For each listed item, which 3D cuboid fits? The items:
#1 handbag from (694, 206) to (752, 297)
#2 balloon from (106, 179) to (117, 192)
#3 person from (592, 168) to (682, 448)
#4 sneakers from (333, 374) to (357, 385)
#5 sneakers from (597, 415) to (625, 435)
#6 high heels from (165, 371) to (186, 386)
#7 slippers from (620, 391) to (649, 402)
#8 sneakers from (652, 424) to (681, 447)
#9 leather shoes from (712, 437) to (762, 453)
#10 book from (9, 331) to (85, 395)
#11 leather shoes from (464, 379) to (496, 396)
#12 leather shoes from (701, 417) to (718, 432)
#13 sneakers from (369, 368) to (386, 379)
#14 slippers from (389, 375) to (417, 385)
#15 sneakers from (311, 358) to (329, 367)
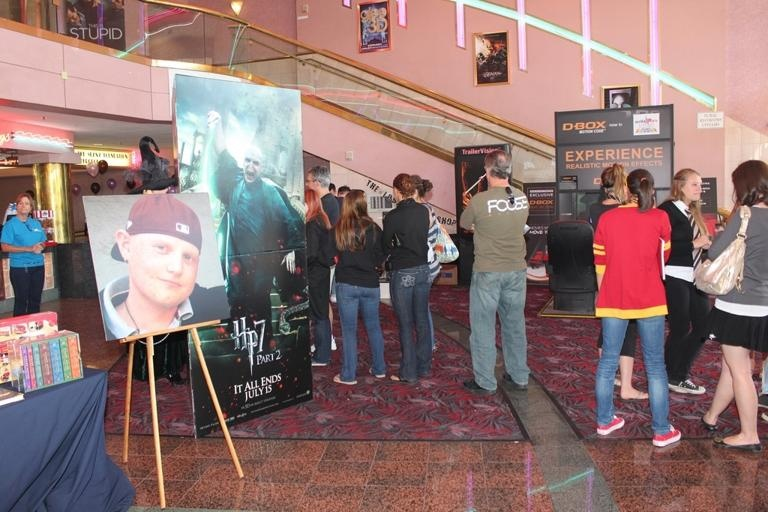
[{"bbox_3d":[2.478,-0.046,3.993,0.353,0.596,0.168,-7,14,-18],"label":"handbag"},{"bbox_3d":[-8.511,-2.230,17.327,0.202,0.407,0.325,-6,-16,-39],"label":"balloon"},{"bbox_3d":[1.956,0.391,4.273,0.666,2.066,0.470,3,15,23],"label":"person"},{"bbox_3d":[-0.398,1.249,5.582,0.206,0.086,0.097,8,8,37],"label":"sneakers"},{"bbox_3d":[1.818,1.337,4.468,0.278,0.114,0.101,-8,8,-34],"label":"sneakers"},{"bbox_3d":[-2.118,1.237,5.675,0.198,0.145,0.169,-9,-8,35],"label":"high heels"},{"bbox_3d":[2.260,1.263,4.977,0.209,0.054,0.092,-6,17,0],"label":"slippers"},{"bbox_3d":[2.172,1.385,4.319,0.292,0.130,0.105,-8,9,-30],"label":"sneakers"},{"bbox_3d":[2.658,1.427,4.199,0.333,0.086,0.117,5,-2,25],"label":"leather shoes"},{"bbox_3d":[-2.118,0.654,3.471,0.394,0.277,0.234,-12,16,-36],"label":"book"},{"bbox_3d":[0.911,1.226,5.269,0.276,0.109,0.110,11,10,43],"label":"leather shoes"},{"bbox_3d":[2.615,1.334,4.438,0.072,0.049,0.140,-5,14,4],"label":"leather shoes"},{"bbox_3d":[-0.050,1.206,5.666,0.071,0.074,0.161,-3,10,-22],"label":"sneakers"},{"bbox_3d":[0.191,1.221,5.562,0.244,0.065,0.090,3,0,26],"label":"slippers"},{"bbox_3d":[-0.705,1.168,6.117,0.228,0.094,0.077,5,-1,-4],"label":"sneakers"}]
